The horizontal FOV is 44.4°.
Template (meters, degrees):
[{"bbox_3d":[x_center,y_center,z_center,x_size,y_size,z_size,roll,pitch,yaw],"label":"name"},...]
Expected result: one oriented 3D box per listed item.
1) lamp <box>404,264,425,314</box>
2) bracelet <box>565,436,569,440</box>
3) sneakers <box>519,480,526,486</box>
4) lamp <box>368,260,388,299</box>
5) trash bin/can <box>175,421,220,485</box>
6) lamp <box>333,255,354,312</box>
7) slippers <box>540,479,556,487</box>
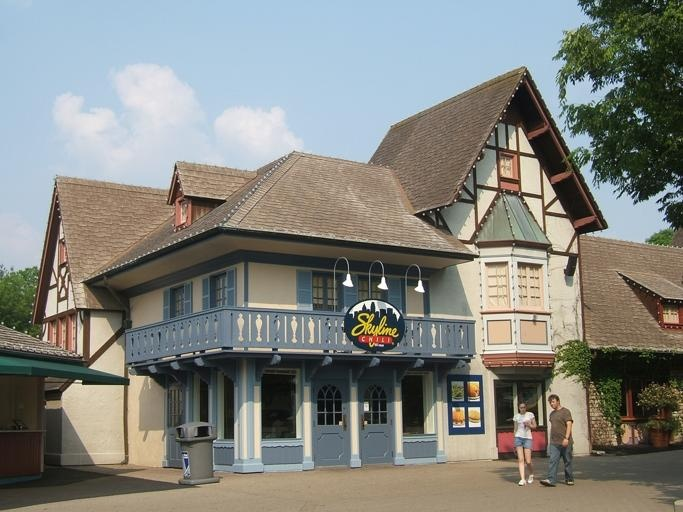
[{"bbox_3d":[2.401,1.075,27.022,0.789,1.548,0.522,1,-15,-10],"label":"lamp"},{"bbox_3d":[5.436,4.421,20.144,0.053,0.092,0.027,3,-1,0],"label":"bracelet"},{"bbox_3d":[4.432,5.571,20.474,0.081,0.114,0.257,0,-2,-4],"label":"sneakers"},{"bbox_3d":[1.098,0.590,25.881,0.624,1.167,1.749,-3,-16,3],"label":"lamp"},{"bbox_3d":[-3.815,5.213,21.961,0.960,1.610,0.533,1,-15,-12],"label":"trash bin/can"},{"bbox_3d":[0.021,0.874,25.803,0.663,1.613,0.595,-1,-15,-1],"label":"lamp"},{"bbox_3d":[4.947,5.404,20.043,0.381,0.156,0.163,33,-44,-29],"label":"slippers"}]
